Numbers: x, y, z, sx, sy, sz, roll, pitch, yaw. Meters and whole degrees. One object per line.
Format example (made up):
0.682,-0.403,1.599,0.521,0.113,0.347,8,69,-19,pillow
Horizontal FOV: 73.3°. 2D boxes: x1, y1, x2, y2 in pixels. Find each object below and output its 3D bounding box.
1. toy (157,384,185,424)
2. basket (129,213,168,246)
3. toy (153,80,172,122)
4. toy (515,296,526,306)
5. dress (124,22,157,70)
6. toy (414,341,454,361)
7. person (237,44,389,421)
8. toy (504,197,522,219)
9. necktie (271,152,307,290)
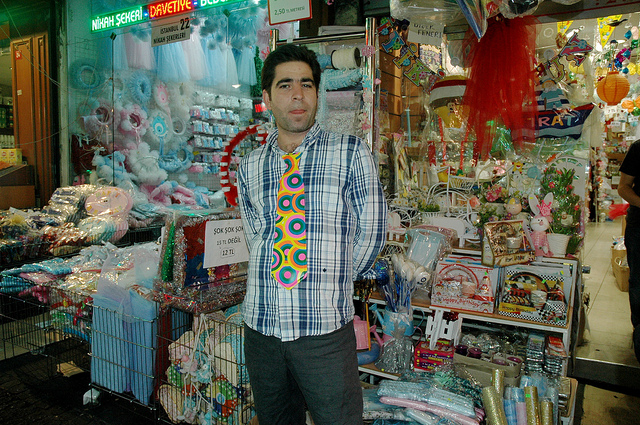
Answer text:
-1.061,1.396,3.173,0.227,0.226,0.058,11,5,36,toy
-2.389,0.216,6.027,0.268,0.341,0.653,1,6,-2,basket
-2.646,-1.955,7.319,0.088,0.470,0.269,-2,21,34,toy
1.484,0.654,3.175,0.052,0.063,0.021,3,6,19,toy
-2.934,-2.666,7.073,0.499,0.754,0.281,17,19,38,dress
0.838,1.002,3.124,0.261,0.088,0.201,5,7,28,toy
-0.069,0.147,2.340,0.847,2.124,0.357,2,6,8,person
1.534,-0.034,3.409,0.108,0.165,0.152,4,7,25,toy
-0.160,0.021,2.294,0.230,0.857,0.052,-1,-4,-8,necktie
